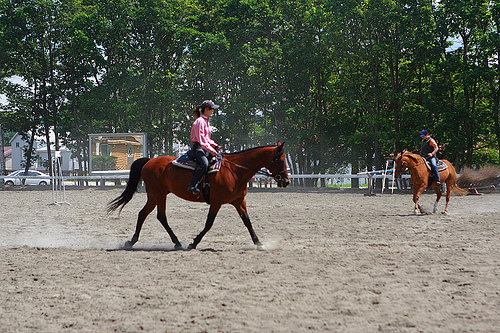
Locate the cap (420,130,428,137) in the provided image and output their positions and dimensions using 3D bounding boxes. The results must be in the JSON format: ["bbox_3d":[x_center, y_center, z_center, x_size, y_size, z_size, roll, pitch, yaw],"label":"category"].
[{"bbox_3d":[9.953,-1.913,39.797,0.300,0.356,0.525,2,13,13],"label":"cap"}]
